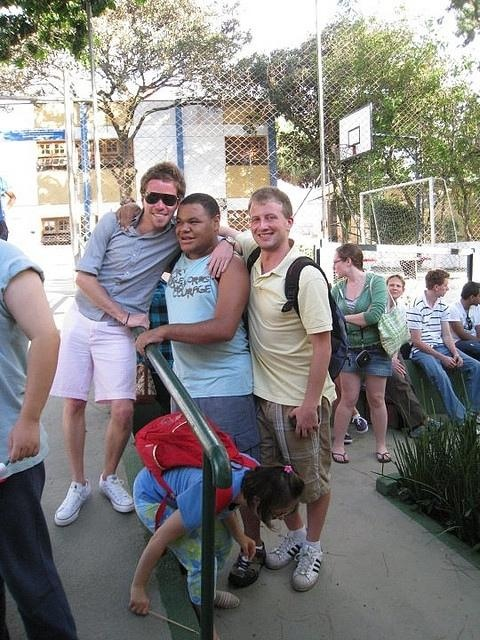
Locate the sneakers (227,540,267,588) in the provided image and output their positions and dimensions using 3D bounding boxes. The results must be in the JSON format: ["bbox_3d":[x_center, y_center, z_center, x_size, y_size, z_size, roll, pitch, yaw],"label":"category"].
[{"bbox_3d":[0.038,1.052,2.084,0.108,0.126,0.316,6,-5,19],"label":"sneakers"}]

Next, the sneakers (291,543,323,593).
[{"bbox_3d":[0.288,1.038,2.019,0.124,0.116,0.239,0,4,19],"label":"sneakers"}]

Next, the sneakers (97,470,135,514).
[{"bbox_3d":[-0.627,0.870,2.399,0.096,0.116,0.285,-5,12,-32],"label":"sneakers"}]

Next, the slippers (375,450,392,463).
[{"bbox_3d":[1.063,1.007,3.514,0.078,0.041,0.156,-4,14,3],"label":"slippers"}]

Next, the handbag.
[{"bbox_3d":[1.151,-0.103,3.768,0.334,0.694,0.348,11,16,37],"label":"handbag"}]

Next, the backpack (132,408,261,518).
[{"bbox_3d":[-0.126,0.508,1.609,0.495,0.348,0.285,6,12,43],"label":"backpack"}]

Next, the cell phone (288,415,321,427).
[{"bbox_3d":[0.228,0.401,1.898,0.061,0.032,0.082,1,-18,-10],"label":"cell phone"}]
